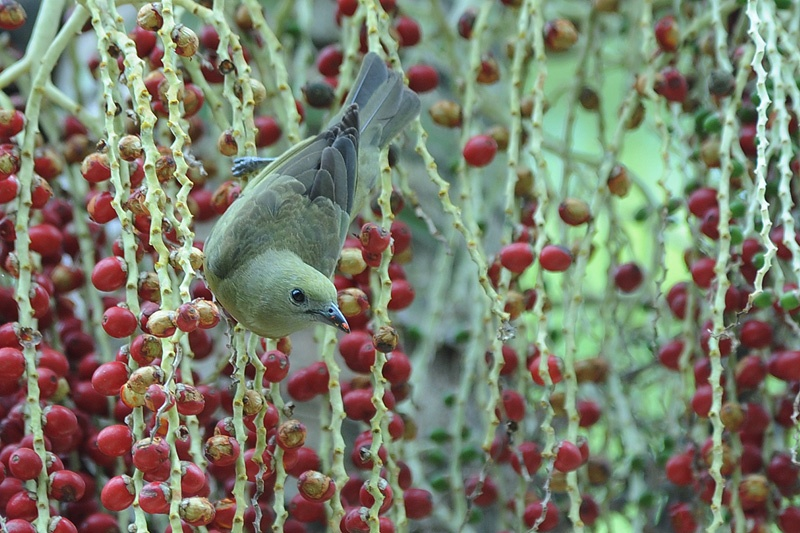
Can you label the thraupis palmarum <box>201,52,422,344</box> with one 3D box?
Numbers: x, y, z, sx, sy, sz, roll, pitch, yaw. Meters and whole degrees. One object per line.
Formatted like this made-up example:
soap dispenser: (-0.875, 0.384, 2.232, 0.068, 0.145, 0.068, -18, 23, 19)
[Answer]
thraupis palmarum: (-0.255, -0.194, 3.091, 0.315, 0.738, 0.480, 22, 15, -24)
